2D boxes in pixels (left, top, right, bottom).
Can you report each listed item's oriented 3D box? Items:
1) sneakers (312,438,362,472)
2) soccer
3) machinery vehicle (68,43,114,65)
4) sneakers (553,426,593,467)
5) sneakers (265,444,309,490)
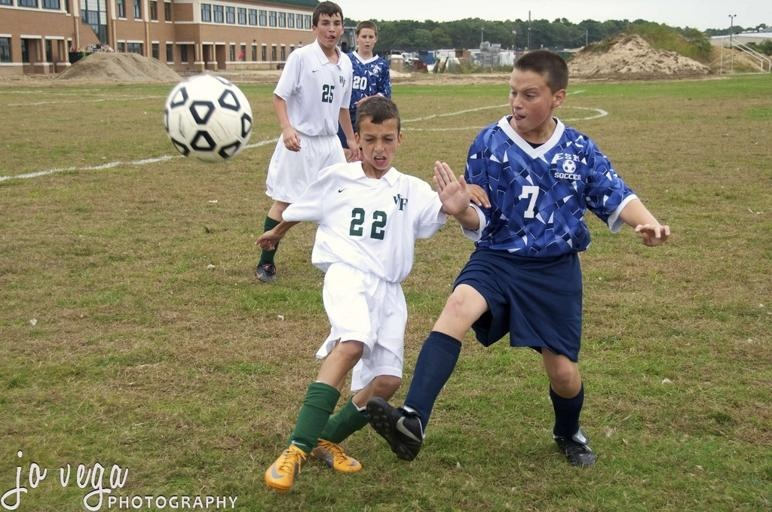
[{"bbox_3d":[-0.339,1.281,4.315,0.418,0.179,0.161,-2,-9,43],"label":"sneakers"},{"bbox_3d":[-1.585,-1.214,6.180,0.817,0.795,0.772,-1,3,3],"label":"soccer"},{"bbox_3d":[-20.064,-13.667,45.071,2.415,1.204,5.068,-7,19,-23],"label":"machinery vehicle"},{"bbox_3d":[1.213,1.253,4.436,0.146,0.126,0.277,-18,24,-33],"label":"sneakers"},{"bbox_3d":[-0.596,1.221,3.915,0.156,0.210,0.226,10,20,28],"label":"sneakers"}]
